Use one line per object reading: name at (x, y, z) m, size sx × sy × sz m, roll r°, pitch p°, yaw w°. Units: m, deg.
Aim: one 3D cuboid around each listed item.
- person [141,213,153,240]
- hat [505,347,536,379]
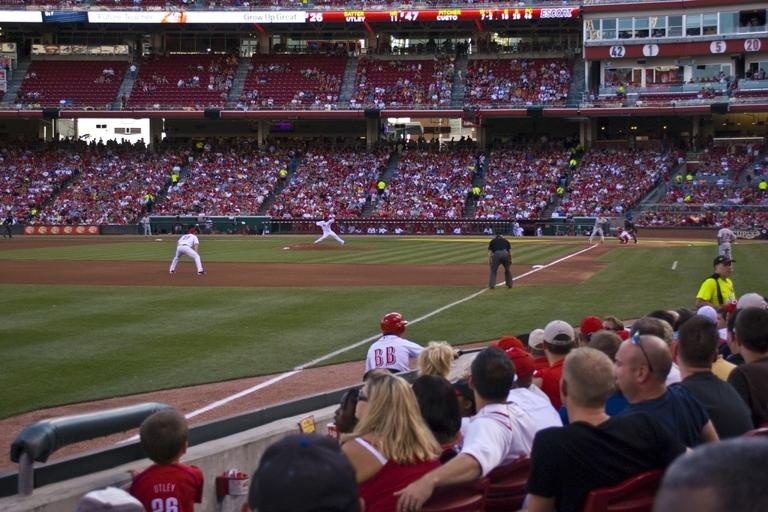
person at (-16.849, -2.278, 76.741) m, size 0.662 × 1.237 × 1.342 m, roll -1°, pitch 5°, yaw -22°
hat at (4.111, 3.145, 32.768) m, size 0.676 × 0.512 × 1.011 m, roll -10°, pitch 26°, yaw -20°
